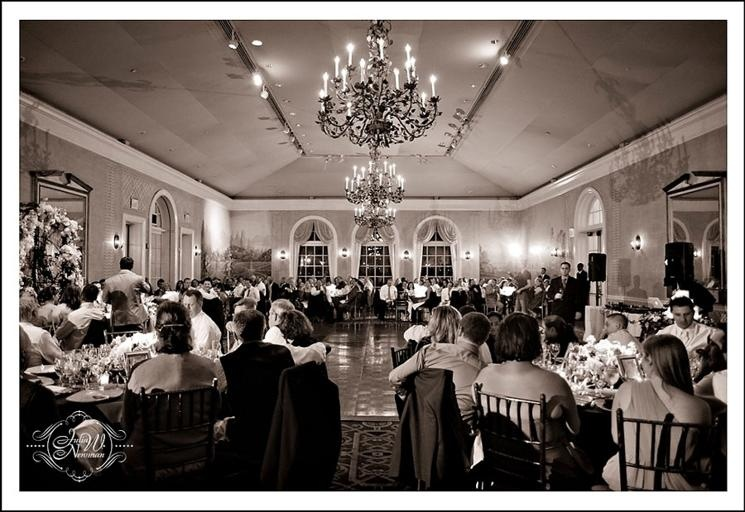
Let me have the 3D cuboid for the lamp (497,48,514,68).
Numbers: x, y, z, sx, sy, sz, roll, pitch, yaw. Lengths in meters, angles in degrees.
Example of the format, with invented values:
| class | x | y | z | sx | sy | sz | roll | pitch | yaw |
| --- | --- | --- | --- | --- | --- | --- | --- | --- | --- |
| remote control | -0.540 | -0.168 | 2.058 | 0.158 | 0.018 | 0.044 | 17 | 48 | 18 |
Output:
| class | x | y | z | sx | sy | sz | roll | pitch | yaw |
| --- | --- | --- | --- | --- | --- | --- | --- | --- | --- |
| lamp | 2.542 | -3.828 | 9.604 | 0.187 | 0.173 | 0.282 | 26 | 19 | -7 |

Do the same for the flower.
| class | x | y | z | sx | sy | sz | roll | pitch | yaw |
| --- | --- | --- | --- | --- | --- | --- | --- | --- | --- |
| flower | -5.301 | -0.166 | 8.164 | 0.693 | 1.448 | 1.080 | -12 | -19 | 36 |

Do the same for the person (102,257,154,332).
| class | x | y | z | sx | sy | sz | roll | pitch | yaw |
| --- | --- | --- | --- | --- | --- | --- | --- | --- | --- |
| person | -3.633 | 0.773 | 7.363 | 0.629 | 1.479 | 0.466 | -1 | 7 | -32 |

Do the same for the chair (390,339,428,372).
| class | x | y | z | sx | sy | sz | roll | pitch | yaw |
| --- | --- | --- | --- | --- | --- | --- | --- | --- | --- |
| chair | 0.359 | 0.917 | 4.761 | 0.319 | 0.507 | 0.313 | 0 | 0 | 6 |

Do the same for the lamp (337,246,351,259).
| class | x | y | z | sx | sy | sz | roll | pitch | yaw |
| --- | --- | --- | --- | --- | --- | --- | --- | --- | --- |
| lamp | -1.112 | -0.128 | 18.928 | 0.374 | 0.481 | 0.432 | 8 | 11 | 19 |

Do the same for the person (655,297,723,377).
| class | x | y | z | sx | sy | sz | roll | pitch | yaw |
| --- | --- | --- | --- | --- | --- | --- | --- | --- | --- |
| person | 3.100 | 0.760 | 4.814 | 0.298 | 0.868 | 0.510 | 17 | -25 | -42 |

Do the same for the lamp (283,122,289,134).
| class | x | y | z | sx | sy | sz | roll | pitch | yaw |
| --- | --- | --- | --- | --- | --- | --- | --- | --- | --- |
| lamp | -2.438 | -3.635 | 14.032 | 0.113 | 0.100 | 0.205 | 26 | -10 | -5 |

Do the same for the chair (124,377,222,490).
| class | x | y | z | sx | sy | sz | roll | pitch | yaw |
| --- | --- | --- | --- | --- | --- | --- | --- | --- | --- |
| chair | -1.427 | 1.275 | 3.855 | 0.684 | 1.169 | 0.684 | -1 | 9 | -16 |

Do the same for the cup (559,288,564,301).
| class | x | y | z | sx | sy | sz | roll | pitch | yaw |
| --- | --- | --- | --- | --- | --- | --- | --- | --- | --- |
| cup | 3.999 | 0.812 | 10.558 | 0.058 | 0.185 | 0.132 | 16 | -13 | -29 |

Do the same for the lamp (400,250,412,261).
| class | x | y | z | sx | sy | sz | roll | pitch | yaw |
| --- | --- | --- | --- | --- | --- | --- | --- | --- | --- |
| lamp | 1.291 | -0.009 | 18.904 | 0.320 | 0.386 | 0.365 | 2 | 7 | 1 |

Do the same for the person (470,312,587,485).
| class | x | y | z | sx | sy | sz | roll | pitch | yaw |
| --- | --- | --- | --- | --- | --- | --- | --- | --- | --- |
| person | 1.227 | 1.063 | 3.856 | 0.952 | 1.197 | 0.956 | 2 | -3 | -23 |

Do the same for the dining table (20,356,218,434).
| class | x | y | z | sx | sy | sz | roll | pitch | yaw |
| --- | --- | --- | --- | --- | --- | --- | --- | --- | --- |
| dining table | -1.826 | 0.984 | 3.655 | 1.099 | 0.227 | 0.668 | -2 | 0 | -21 |

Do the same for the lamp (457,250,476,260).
| class | x | y | z | sx | sy | sz | roll | pitch | yaw |
| --- | --- | --- | --- | --- | --- | --- | --- | --- | --- |
| lamp | 3.561 | -0.039 | 18.814 | 0.458 | 0.358 | 0.113 | 0 | -4 | -1 |

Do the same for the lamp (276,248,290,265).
| class | x | y | z | sx | sy | sz | roll | pitch | yaw |
| --- | --- | --- | --- | --- | --- | --- | --- | --- | --- |
| lamp | -3.354 | 0.036 | 18.743 | 0.482 | 0.861 | 0.493 | 2 | 5 | 4 |

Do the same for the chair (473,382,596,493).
| class | x | y | z | sx | sy | sz | roll | pitch | yaw |
| --- | --- | --- | --- | --- | --- | --- | --- | --- | --- |
| chair | 1.110 | 1.279 | 3.472 | 0.619 | 0.732 | 0.448 | 5 | 38 | 26 |

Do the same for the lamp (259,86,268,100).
| class | x | y | z | sx | sy | sz | roll | pitch | yaw |
| --- | --- | --- | --- | --- | --- | --- | --- | --- | --- |
| lamp | -2.278 | -3.438 | 10.432 | 0.138 | 0.240 | 0.414 | 1 | -4 | -6 |

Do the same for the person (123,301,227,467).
| class | x | y | z | sx | sy | sz | roll | pitch | yaw |
| --- | --- | --- | --- | --- | --- | --- | --- | --- | --- |
| person | -1.558 | 0.994 | 3.894 | 0.726 | 1.247 | 0.768 | -3 | -3 | 36 |

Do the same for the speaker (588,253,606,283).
| class | x | y | z | sx | sy | sz | roll | pitch | yaw |
| --- | --- | --- | --- | --- | --- | --- | --- | --- | --- |
| speaker | 5.172 | 0.250 | 11.409 | 0.290 | 0.620 | 0.812 | -2 | -5 | 30 |
